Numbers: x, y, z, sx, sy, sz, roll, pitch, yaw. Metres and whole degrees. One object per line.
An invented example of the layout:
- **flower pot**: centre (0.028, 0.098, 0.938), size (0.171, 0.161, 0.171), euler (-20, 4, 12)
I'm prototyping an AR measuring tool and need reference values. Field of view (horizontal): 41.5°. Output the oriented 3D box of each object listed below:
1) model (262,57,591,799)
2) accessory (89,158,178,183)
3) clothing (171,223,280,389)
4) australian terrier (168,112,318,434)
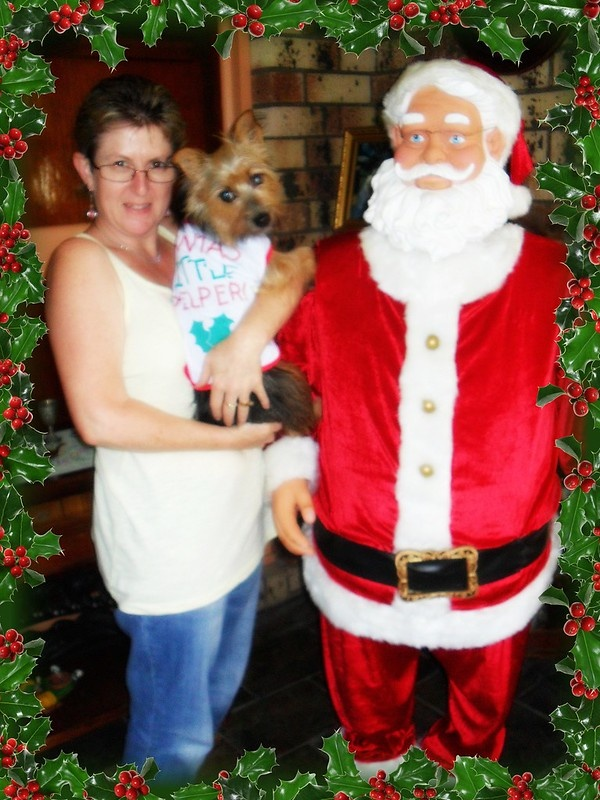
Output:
- **model**: centre (0.223, 0.123, 1.634), size (0.626, 1.572, 0.354), euler (-2, 17, 14)
- **accessory**: centre (-0.312, -0.444, 1.535), size (0.149, 0.042, 0.053), euler (-15, 18, -41)
- **clothing**: centre (-0.173, -0.199, 1.657), size (0.322, 0.286, 0.101), euler (-6, -15, -17)
- **australian terrier**: centre (-0.143, -0.267, 1.725), size (0.288, 0.661, 0.399), euler (2, -9, -31)
